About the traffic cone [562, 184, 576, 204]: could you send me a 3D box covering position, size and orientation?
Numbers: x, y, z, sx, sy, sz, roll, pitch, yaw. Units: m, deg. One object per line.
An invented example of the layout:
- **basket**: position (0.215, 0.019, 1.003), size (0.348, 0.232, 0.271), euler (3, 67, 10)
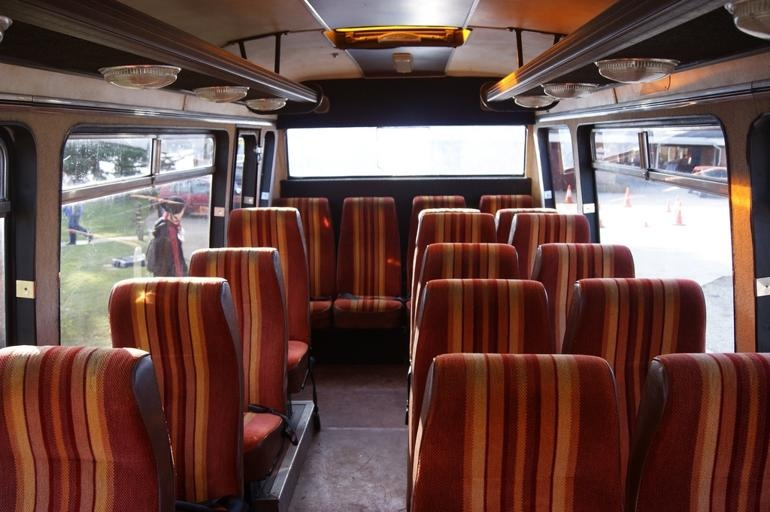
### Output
- **traffic cone**: position (2.037, -0.686, 6.881), size (0.165, 0.208, 0.165), euler (-1, -3, 4)

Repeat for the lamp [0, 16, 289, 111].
- **lamp**: position (-1.431, -1.068, 3.627), size (0.810, 0.266, 2.329), euler (2, 13, 10)
